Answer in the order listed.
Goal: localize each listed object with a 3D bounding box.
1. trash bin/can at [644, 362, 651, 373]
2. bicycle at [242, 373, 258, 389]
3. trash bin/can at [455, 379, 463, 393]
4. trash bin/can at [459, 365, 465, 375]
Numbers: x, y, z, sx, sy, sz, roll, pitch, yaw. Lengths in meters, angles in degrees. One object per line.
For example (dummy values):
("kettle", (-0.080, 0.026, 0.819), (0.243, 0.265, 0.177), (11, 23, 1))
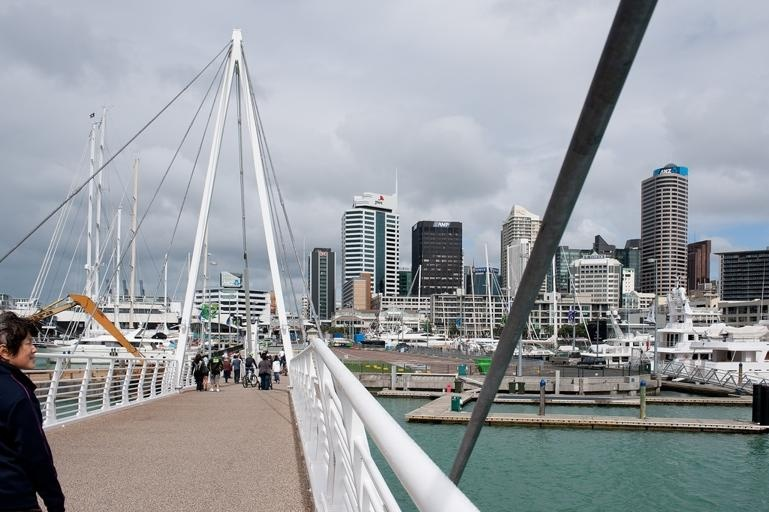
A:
("trash bin/can", (21.815, 9.212, 52.740), (0.568, 0.557, 1.046), (-3, -6, 27))
("bicycle", (-6.691, 6.230, 32.060), (0.594, 0.714, 1.170), (4, -2, -28))
("trash bin/can", (5.220, 8.990, 44.478), (0.544, 0.833, 0.758), (2, -10, 5))
("trash bin/can", (5.844, 8.345, 46.828), (0.604, 0.671, 0.601), (0, -7, -7))
